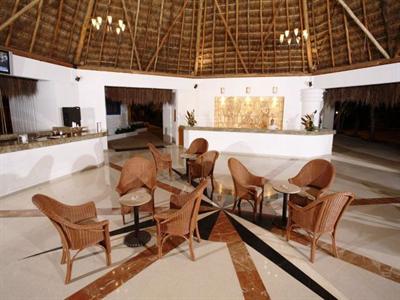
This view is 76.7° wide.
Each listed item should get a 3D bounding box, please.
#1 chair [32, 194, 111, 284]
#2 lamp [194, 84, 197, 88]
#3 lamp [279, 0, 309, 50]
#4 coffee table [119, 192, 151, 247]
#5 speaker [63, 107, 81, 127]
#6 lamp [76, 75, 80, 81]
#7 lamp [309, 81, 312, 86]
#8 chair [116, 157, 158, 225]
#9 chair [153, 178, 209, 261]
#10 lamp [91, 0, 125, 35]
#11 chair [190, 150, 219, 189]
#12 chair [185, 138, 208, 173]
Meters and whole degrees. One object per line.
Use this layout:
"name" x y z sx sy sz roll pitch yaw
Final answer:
"chair" -2.040 1.343 4.088 0.974 1.289 0.776 -7 13 -36
"lamp" -0.209 -3.081 12.273 0.178 0.187 0.045 -12 13 -17
"lamp" 3.765 -4.753 10.397 1.077 0.950 0.957 -11 15 -4
"coffee table" -1.157 1.232 4.905 0.742 1.016 0.810 -5 15 -17
"speaker" -4.696 -1.210 9.302 0.562 0.687 0.436 -5 12 -31
"lamp" -4.768 -2.778 9.887 0.189 0.226 0.221 -3 11 -18
"lamp" 4.785 -2.870 11.053 0.142 0.240 0.175 8 13 34
"chair" -1.335 0.763 5.397 1.049 1.630 1.182 -1 7 -9
"chair" -0.441 1.194 4.941 1.107 1.661 1.239 3 6 4
"lamp" -3.450 -4.631 9.377 1.253 0.600 1.047 -21 49 -37
"chair" 0.097 0.535 6.615 0.644 1.027 0.625 -11 23 -28
"chair" -0.162 0.155 7.876 0.817 1.107 0.813 8 16 29
